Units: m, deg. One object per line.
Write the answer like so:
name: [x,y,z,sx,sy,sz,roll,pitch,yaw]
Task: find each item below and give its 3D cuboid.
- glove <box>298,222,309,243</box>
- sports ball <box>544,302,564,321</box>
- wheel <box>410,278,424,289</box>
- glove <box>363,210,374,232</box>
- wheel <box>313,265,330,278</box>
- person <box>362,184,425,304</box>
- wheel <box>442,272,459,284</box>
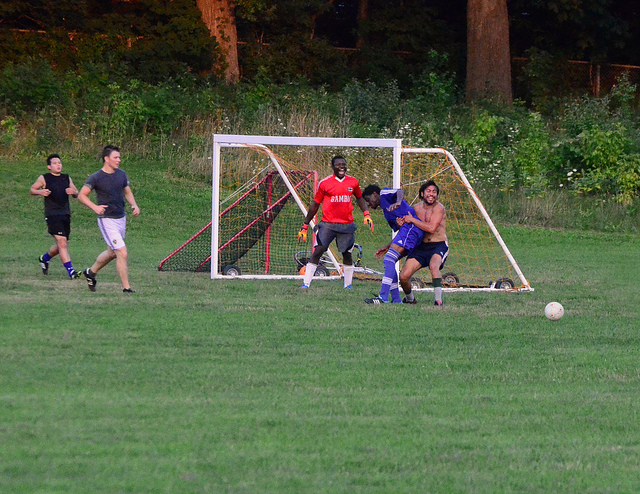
glove: [-0.255,-0.240,15.477,0.175,0.281,0.074,38,-9,1]
sports ball: [3.344,0.911,13.891,0.232,0.254,0.233,4,0,0]
wheel: [1.547,0.589,15.625,0.182,0.200,0.063,-6,4,3]
glove: [0.763,-0.404,15.231,0.163,0.287,0.084,-4,22,-2]
wheel: [0.029,0.426,16.800,0.275,0.184,0.161,16,-4,-14]
person: [1.188,-0.005,15.597,0.865,1.898,1.158,-3,-38,8]
wheel: [2.183,0.524,16.226,0.272,0.172,0.359,3,3,7]
